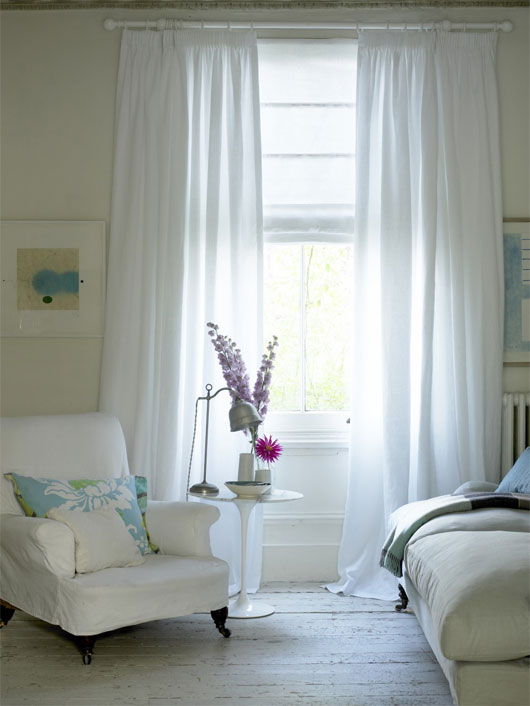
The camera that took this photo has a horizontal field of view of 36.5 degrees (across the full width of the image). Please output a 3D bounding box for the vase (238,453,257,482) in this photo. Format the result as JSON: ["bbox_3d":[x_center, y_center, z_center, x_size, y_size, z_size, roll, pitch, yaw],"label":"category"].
[{"bbox_3d":[-0.081,0.511,3.598,0.093,0.168,0.098,0,-1,-15],"label":"vase"}]

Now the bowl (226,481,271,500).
[{"bbox_3d":[-0.061,0.593,3.501,0.160,0.071,0.200,1,0,27],"label":"bowl"}]

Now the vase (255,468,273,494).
[{"bbox_3d":[-0.002,0.568,3.557,0.075,0.135,0.081,0,0,-36],"label":"vase"}]
